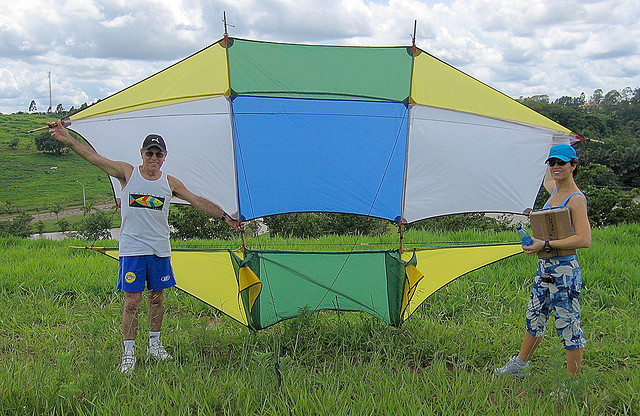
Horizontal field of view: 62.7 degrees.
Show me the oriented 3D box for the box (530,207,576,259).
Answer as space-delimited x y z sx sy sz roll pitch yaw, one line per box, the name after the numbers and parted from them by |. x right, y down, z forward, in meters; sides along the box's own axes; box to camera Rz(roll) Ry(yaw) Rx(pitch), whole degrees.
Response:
2.912 0.245 6.621 0.431 0.824 0.409 -1 -1 -1 | box

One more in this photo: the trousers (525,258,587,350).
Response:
2.970 1.218 6.682 0.674 1.158 0.243 -1 -3 24 | trousers
